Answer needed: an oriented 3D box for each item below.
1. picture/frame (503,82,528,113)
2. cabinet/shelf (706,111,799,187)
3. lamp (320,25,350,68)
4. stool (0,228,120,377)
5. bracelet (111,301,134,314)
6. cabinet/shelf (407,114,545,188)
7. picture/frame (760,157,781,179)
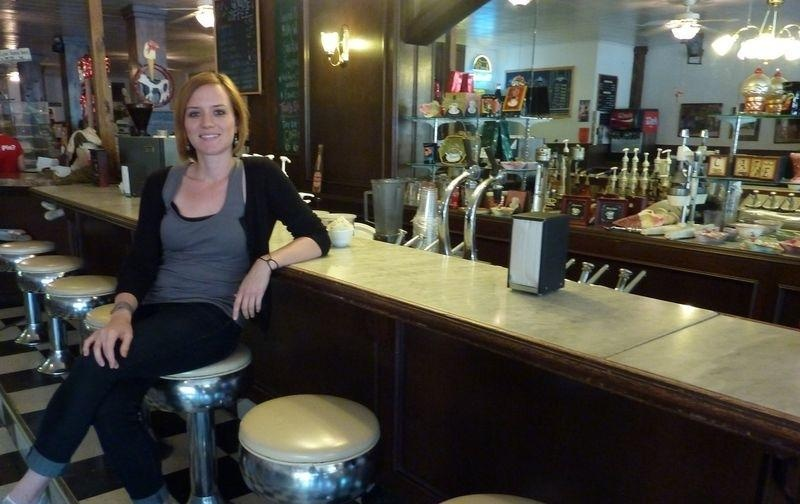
[{"bbox_3d":[1.006,-1.320,4.695,0.257,0.225,0.060,6,-5,38],"label":"picture/frame"},{"bbox_3d":[2.410,-0.693,3.682,0.604,0.443,0.235,5,8,40],"label":"cabinet/shelf"},{"bbox_3d":[-0.660,-2.051,5.484,0.128,0.364,0.384,-18,24,-41],"label":"lamp"},{"bbox_3d":[-2.440,0.365,3.912,0.367,0.478,1.276,-4,10,-44],"label":"stool"},{"bbox_3d":[-1.310,0.261,2.574,0.078,0.034,0.065,-15,0,26],"label":"bracelet"},{"bbox_3d":[0.634,-0.926,4.918,1.336,0.565,0.375,12,21,37],"label":"cabinet/shelf"},{"bbox_3d":[2.450,-0.548,3.603,0.111,0.141,0.102,8,19,25],"label":"picture/frame"}]
